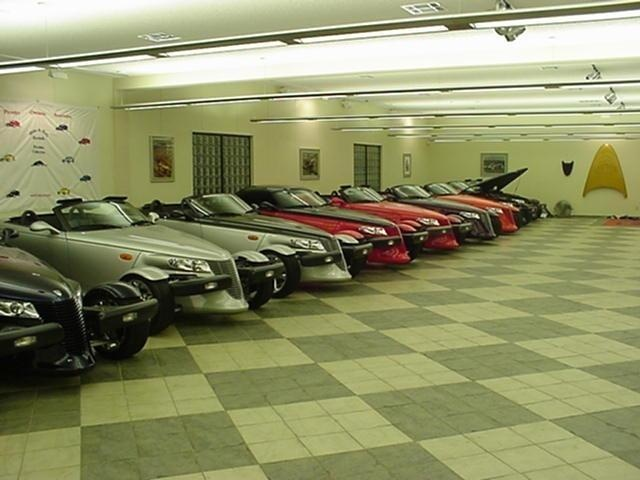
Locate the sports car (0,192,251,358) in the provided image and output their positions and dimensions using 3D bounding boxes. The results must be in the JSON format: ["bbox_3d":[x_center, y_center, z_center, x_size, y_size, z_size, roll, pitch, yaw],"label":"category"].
[{"bbox_3d":[-2.178,0.214,5.565,3.835,0.851,1.475,9,3,18],"label":"sports car"}]
